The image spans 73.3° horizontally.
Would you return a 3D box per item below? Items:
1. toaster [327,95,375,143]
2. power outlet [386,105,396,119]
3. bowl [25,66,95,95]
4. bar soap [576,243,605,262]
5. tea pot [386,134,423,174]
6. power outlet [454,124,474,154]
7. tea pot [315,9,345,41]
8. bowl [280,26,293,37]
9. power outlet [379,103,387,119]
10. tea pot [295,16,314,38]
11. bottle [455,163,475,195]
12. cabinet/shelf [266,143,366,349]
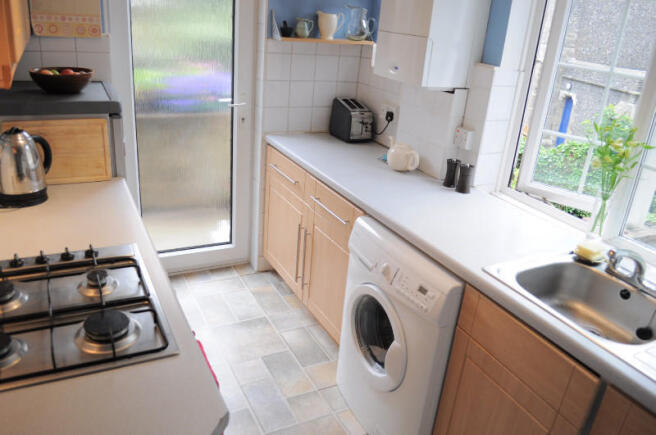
[{"bbox_3d":[0.172,-0.774,3.488,0.253,0.302,0.318,-11,27,-21],"label":"toaster"},{"bbox_3d":[0.469,-0.784,3.272,0.023,0.088,0.096,-10,24,-35],"label":"power outlet"},{"bbox_3d":[-1.495,-0.776,2.496,0.291,0.119,0.353,-15,29,-29],"label":"bowl"},{"bbox_3d":[1.271,0.171,2.136,0.094,0.060,0.094,-13,27,-27],"label":"bar soap"},{"bbox_3d":[0.495,-0.415,2.946,0.204,0.190,0.307,-13,36,-27],"label":"tea pot"},{"bbox_3d":[0.843,-0.497,2.727,0.068,0.130,0.134,-13,33,-19],"label":"power outlet"},{"bbox_3d":[0.025,-1.417,3.253,0.214,0.194,0.132,-6,23,-19],"label":"tea pot"},{"bbox_3d":[-0.292,-1.338,3.165,0.095,0.074,0.102,0,25,0],"label":"bowl"},{"bbox_3d":[0.416,-0.811,3.346,0.032,0.098,0.097,-8,32,-17],"label":"power outlet"},{"bbox_3d":[-0.177,-1.384,3.213,0.141,0.130,0.190,1,25,1],"label":"tea pot"},{"bbox_3d":[0.843,-0.254,2.708,0.096,0.167,0.172,9,27,18],"label":"bottle"},{"bbox_3d":[0.016,0.144,3.205,0.473,1.056,1.233,-10,29,-29],"label":"cabinet/shelf"}]
